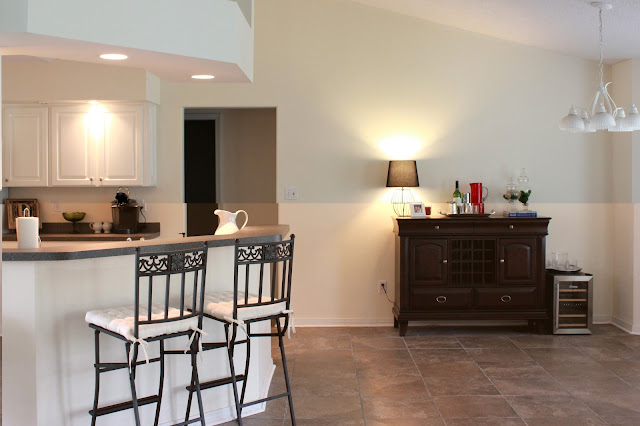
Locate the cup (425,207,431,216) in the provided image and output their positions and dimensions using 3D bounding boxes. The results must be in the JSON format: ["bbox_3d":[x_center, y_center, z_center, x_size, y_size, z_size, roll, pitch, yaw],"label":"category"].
[{"bbox_3d":[1.232,-0.024,6.098,0.084,0.078,0.092,1,6,0],"label":"cup"}]

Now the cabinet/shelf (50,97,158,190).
[{"bbox_3d":[-2.448,-0.767,6.187,1.206,0.967,0.443,0,1,6],"label":"cabinet/shelf"}]

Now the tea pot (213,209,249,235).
[{"bbox_3d":[-0.809,0.084,4.803,0.265,0.226,0.516,-2,11,-11],"label":"tea pot"}]

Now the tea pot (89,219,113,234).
[{"bbox_3d":[-2.523,0.152,6.169,0.222,0.112,0.134,1,-1,-1],"label":"tea pot"}]

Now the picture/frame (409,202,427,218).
[{"bbox_3d":[1.089,-0.039,5.945,0.168,0.154,0.161,1,-7,-8],"label":"picture/frame"}]

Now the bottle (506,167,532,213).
[{"bbox_3d":[2.275,-0.277,6.164,0.305,0.470,0.324,0,12,0],"label":"bottle"}]

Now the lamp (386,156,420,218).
[{"bbox_3d":[0.938,-0.289,6.084,0.377,0.642,0.417,2,12,10],"label":"lamp"}]

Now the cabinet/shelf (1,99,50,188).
[{"bbox_3d":[-3.299,-0.769,5.987,0.530,0.906,0.207,0,12,3],"label":"cabinet/shelf"}]

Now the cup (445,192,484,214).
[{"bbox_3d":[1.634,-0.124,6.017,0.385,0.258,0.228,-1,0,-7],"label":"cup"}]

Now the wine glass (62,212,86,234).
[{"bbox_3d":[-2.795,0.108,6.159,0.246,0.219,0.245,0,2,16],"label":"wine glass"}]

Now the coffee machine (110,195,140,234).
[{"bbox_3d":[-2.241,-0.010,6.160,0.296,0.446,0.453,0,3,-17],"label":"coffee machine"}]

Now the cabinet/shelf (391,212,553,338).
[{"bbox_3d":[1.690,0.661,5.912,1.452,1.070,0.544,0,0,0],"label":"cabinet/shelf"}]
